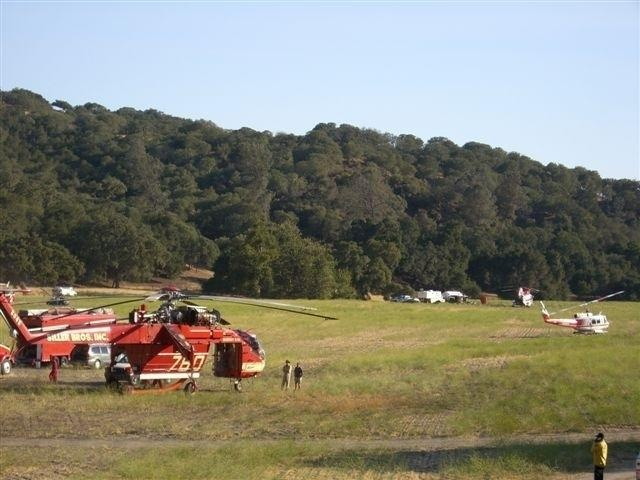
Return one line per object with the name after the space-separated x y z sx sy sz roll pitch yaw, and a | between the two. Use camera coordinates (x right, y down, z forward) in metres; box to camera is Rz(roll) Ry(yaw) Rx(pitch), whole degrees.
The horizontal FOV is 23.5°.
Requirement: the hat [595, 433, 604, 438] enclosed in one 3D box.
30.622 21.611 167.427 0.795 0.417 0.610 -9 1 -2 | hat

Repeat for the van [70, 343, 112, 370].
-27.533 14.002 184.306 2.918 2.636 5.148 2 6 35 | van

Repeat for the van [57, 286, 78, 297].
-36.759 7.494 219.441 2.579 1.244 1.500 0 6 -42 | van
